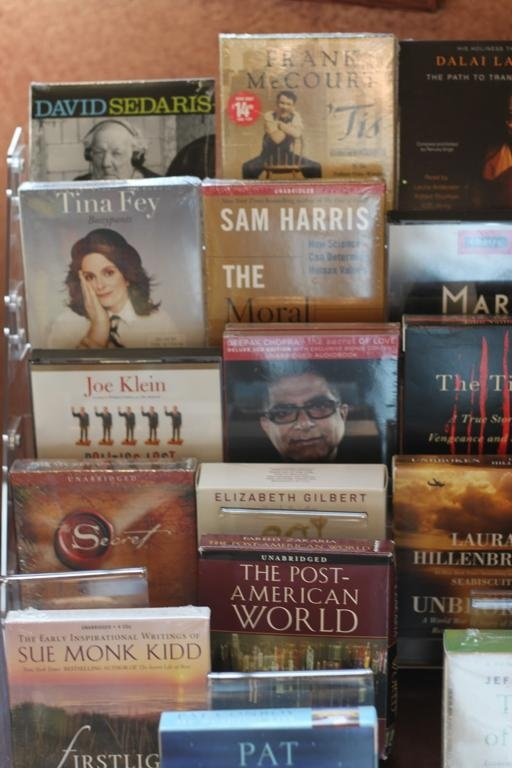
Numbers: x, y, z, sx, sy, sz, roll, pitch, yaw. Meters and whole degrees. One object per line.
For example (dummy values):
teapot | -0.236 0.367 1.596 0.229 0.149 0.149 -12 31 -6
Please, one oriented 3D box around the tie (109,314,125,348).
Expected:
tie | -0.234 -0.087 1.341 0.043 0.045 0.012 1 9 7
